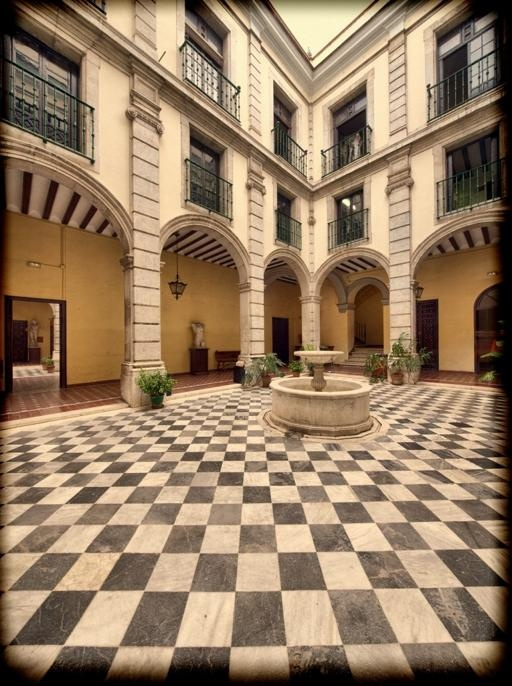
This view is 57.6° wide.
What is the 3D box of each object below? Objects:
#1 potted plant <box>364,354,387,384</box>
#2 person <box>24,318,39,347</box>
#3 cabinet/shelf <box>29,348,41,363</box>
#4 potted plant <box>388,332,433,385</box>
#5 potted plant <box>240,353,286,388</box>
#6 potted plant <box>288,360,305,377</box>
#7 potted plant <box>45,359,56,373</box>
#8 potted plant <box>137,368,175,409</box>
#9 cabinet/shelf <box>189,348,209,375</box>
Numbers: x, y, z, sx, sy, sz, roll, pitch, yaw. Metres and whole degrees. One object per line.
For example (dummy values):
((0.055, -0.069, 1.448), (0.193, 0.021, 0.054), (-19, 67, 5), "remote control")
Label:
((2.590, 0.545, 10.133), (0.465, 0.641, 0.514), (3, -2, 8), "potted plant")
((-7.813, -0.328, 16.437), (0.266, 0.935, 0.579), (0, 12, -1), "person")
((-7.685, 0.429, 16.269), (0.383, 0.778, 0.741), (-1, 0, -26), "cabinet/shelf")
((3.142, 0.359, 9.496), (0.797, 1.132, 0.991), (1, 0, 36), "potted plant")
((0.076, 0.549, 9.396), (0.596, 0.580, 0.659), (2, -6, -9), "potted plant")
((0.922, 0.569, 10.276), (0.326, 0.378, 0.335), (0, 4, -33), "potted plant")
((-5.338, 0.584, 12.165), (0.253, 0.353, 0.280), (0, -10, -1), "potted plant")
((-1.472, 0.662, 6.891), (0.517, 0.558, 0.415), (-10, 15, -38), "potted plant")
((-1.348, 0.436, 11.116), (0.395, 0.648, 0.356), (-3, 12, -15), "cabinet/shelf")
